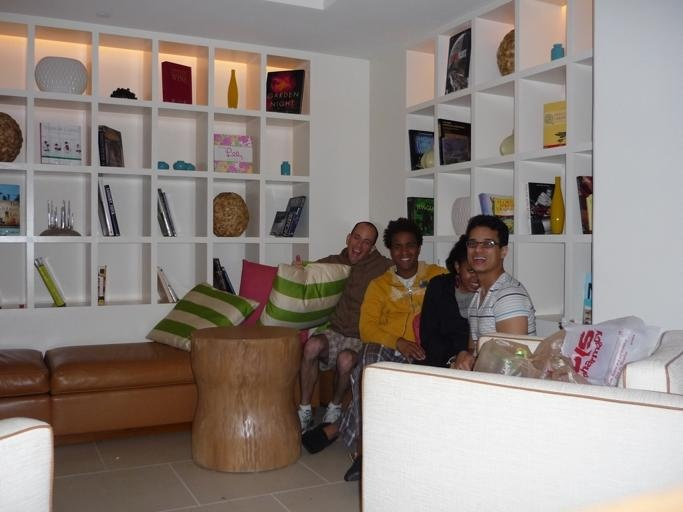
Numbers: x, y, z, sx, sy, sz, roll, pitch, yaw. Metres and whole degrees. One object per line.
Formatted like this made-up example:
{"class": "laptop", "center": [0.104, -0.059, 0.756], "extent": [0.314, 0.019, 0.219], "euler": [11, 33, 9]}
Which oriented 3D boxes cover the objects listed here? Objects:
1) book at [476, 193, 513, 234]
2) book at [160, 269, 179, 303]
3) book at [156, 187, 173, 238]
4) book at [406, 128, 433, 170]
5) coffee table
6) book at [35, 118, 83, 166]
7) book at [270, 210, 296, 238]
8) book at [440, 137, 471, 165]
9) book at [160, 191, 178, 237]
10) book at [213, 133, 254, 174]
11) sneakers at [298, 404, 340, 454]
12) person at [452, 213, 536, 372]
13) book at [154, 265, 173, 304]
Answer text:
{"class": "book", "center": [1.091, -0.327, 3.564], "extent": [0.281, 0.312, 0.090], "euler": [2, -7, -8]}
{"class": "book", "center": [-1.398, 0.239, 4.078], "extent": [0.055, 0.247, 0.240], "euler": [-18, 3, -9]}
{"class": "book", "center": [-1.406, -0.333, 4.040], "extent": [0.065, 0.302, 0.282], "euler": [-10, -3, -7]}
{"class": "book", "center": [0.695, -0.891, 4.236], "extent": [0.264, 0.381, 0.004], "euler": [2, -21, 2]}
{"class": "coffee table", "center": [-0.563, 0.816, 3.042], "extent": [0.625, 0.729, 0.642], "euler": [2, 1, 11]}
{"class": "book", "center": [-2.158, -0.860, 3.863], "extent": [0.392, 0.395, 0.052], "euler": [4, -6, -40]}
{"class": "book", "center": [-0.517, -0.283, 4.488], "extent": [0.215, 0.232, 0.054], "euler": [-9, -25, 44]}
{"class": "book", "center": [0.869, -0.807, 3.880], "extent": [0.230, 0.244, 0.058], "euler": [0, -4, 4]}
{"class": "book", "center": [-1.381, -0.338, 4.064], "extent": [0.066, 0.298, 0.276], "euler": [-8, 3, -8]}
{"class": "book", "center": [-0.917, -0.841, 4.314], "extent": [0.331, 0.333, 0.303], "euler": [-8, 9, -35]}
{"class": "sneakers", "center": [-0.128, 1.069, 3.098], "extent": [0.118, 0.162, 0.368], "euler": [5, -10, 25]}
{"class": "person", "center": [0.715, 0.231, 2.486], "extent": [0.415, 0.815, 0.494], "euler": [0, -3, -1]}
{"class": "book", "center": [-1.426, 0.234, 4.066], "extent": [0.053, 0.236, 0.227], "euler": [-11, -1, -30]}
